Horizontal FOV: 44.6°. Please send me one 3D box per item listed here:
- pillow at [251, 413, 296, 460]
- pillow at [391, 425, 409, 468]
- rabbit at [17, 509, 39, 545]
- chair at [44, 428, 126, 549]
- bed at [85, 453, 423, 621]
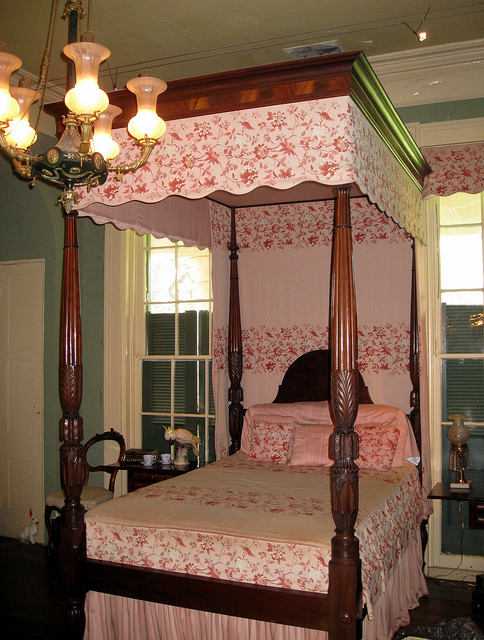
[{"bbox_3d":[0.227,0.856,4.498,0.274,0.271,0.085,2,-12,40],"label":"pillow"},{"bbox_3d":[1.076,0.857,4.036,0.067,0.215,0.222,3,-3,27],"label":"pillow"},{"bbox_3d":[-1.841,1.805,5.078,0.178,0.329,0.178,-12,15,-24],"label":"rabbit"},{"bbox_3d":[-1.210,1.323,4.579,0.448,0.846,0.495,-1,0,28],"label":"chair"},{"bbox_3d":[-0.066,0.969,2.755,1.139,0.270,1.191,-1,-1,25],"label":"bed"}]
